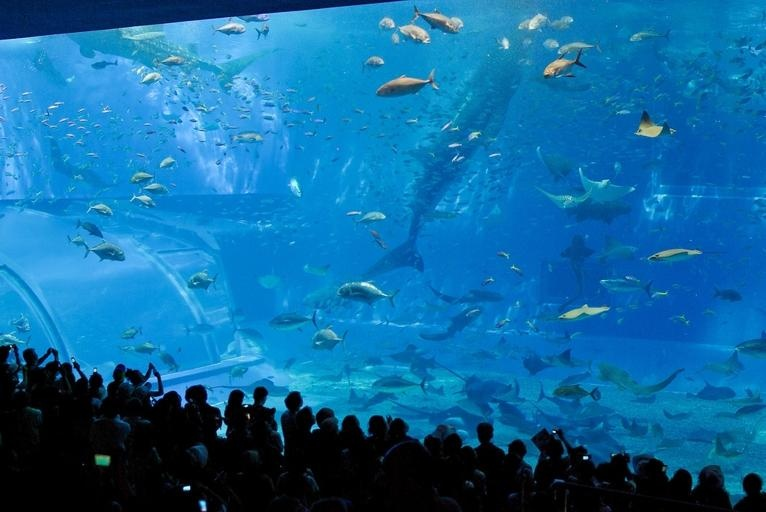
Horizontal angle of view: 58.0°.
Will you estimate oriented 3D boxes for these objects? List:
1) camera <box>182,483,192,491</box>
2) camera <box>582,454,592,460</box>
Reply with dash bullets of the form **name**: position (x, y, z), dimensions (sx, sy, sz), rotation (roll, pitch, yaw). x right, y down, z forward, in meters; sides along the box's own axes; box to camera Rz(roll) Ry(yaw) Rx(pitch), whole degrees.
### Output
- **camera**: position (-8.870, 10.538, 31.372), dimensions (0.522, 0.221, 0.261), rotation (-5, -5, 3)
- **camera**: position (9.357, 9.166, 31.642), dimensions (0.531, 0.225, 0.222), rotation (0, -12, 0)
